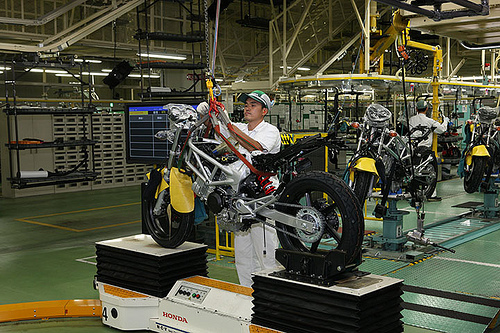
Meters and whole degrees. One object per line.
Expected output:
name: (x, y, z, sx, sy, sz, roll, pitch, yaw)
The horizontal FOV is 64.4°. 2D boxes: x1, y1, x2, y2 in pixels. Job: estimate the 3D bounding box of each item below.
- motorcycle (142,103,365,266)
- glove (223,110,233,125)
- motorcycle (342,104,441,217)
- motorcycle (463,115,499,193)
motorcycle: (-0.079, 0.115, 4.305, 2.890, 1.452, 0.998, 3, 8, 40)
glove: (-0.234, -0.538, 4.114, 0.018, 0.109, 0.027, -30, -5, 33)
motorcycle: (2.668, -0.147, 7.150, 3.363, 1.737, 1.123, -4, 12, -43)
motorcycle: (5.174, -0.299, 8.932, 0.656, 1.731, 0.942, 6, 8, 38)
